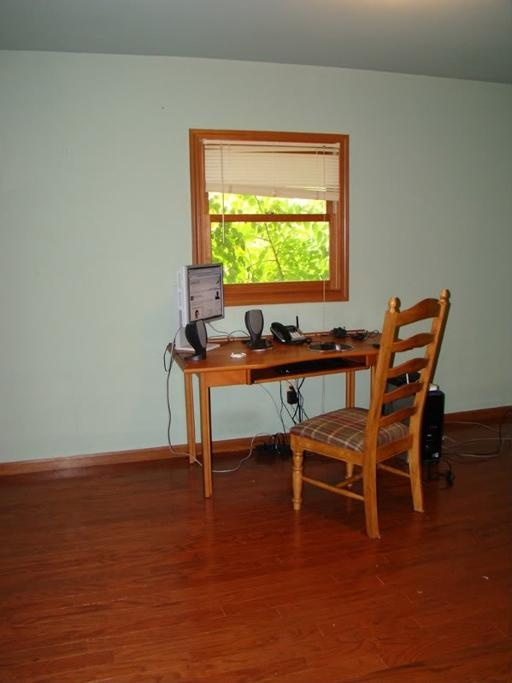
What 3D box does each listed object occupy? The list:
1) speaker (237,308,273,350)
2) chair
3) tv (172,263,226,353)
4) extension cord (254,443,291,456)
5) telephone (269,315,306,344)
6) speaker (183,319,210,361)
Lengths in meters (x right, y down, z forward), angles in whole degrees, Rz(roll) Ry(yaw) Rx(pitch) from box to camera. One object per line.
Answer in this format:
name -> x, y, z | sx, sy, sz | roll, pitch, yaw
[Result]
speaker -> -0.027, -0.061, 3.132 | 0.167, 0.219, 0.214 | -6, 12, -28
chair -> 0.484, 0.292, 2.617 | 0.539, 0.965, 0.575 | -7, 11, -39
tv -> -0.313, -0.188, 3.073 | 0.191, 0.506, 0.469 | 2, 9, 15
extension cord -> 0.100, 0.652, 3.513 | 0.207, 0.055, 0.190 | 0, 3, -8
telephone -> 0.167, -0.061, 3.223 | 0.124, 0.065, 0.169 | -5, 13, -22
speaker -> -0.298, -0.011, 2.886 | 0.095, 0.186, 0.176 | -1, 9, 2
